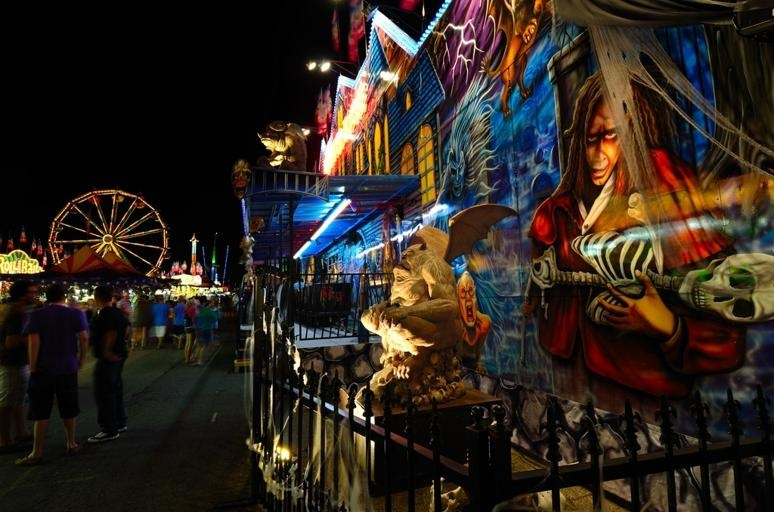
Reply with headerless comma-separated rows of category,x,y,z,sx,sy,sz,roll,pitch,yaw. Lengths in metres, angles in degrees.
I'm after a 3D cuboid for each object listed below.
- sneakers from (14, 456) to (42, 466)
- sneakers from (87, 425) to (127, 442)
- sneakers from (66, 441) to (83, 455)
sneakers,-5.666,3.237,9.699,0.338,0.147,0.139,6,-9,-14
sneakers,-4.824,3.087,10.657,0.195,0.222,0.544,-6,-17,29
sneakers,-5.136,3.117,10.050,0.119,0.137,0.308,5,1,-14
